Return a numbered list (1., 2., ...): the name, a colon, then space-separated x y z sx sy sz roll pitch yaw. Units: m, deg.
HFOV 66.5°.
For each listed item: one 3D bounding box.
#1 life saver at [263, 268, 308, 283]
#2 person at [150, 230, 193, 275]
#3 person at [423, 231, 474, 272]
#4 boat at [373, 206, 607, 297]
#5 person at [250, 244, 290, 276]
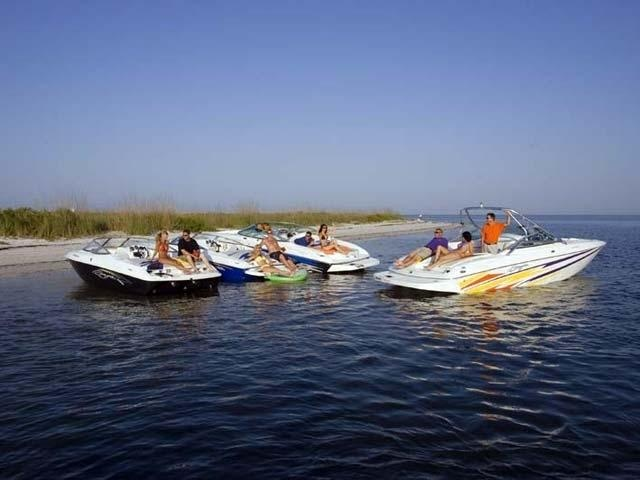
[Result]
1. life saver: -1.174 1.181 15.609 1.160 0.202 0.490 -6 -2 9
2. person: -4.195 0.298 13.292 1.061 1.131 0.681 -1 16 -6
3. person: 3.351 0.337 14.080 2.298 0.795 0.725 -10 21 4
4. boat: 6.472 0.211 15.328 9.930 1.885 2.921 -3 6 -21
5. person: -1.777 0.730 15.704 1.534 0.428 0.910 27 36 24
